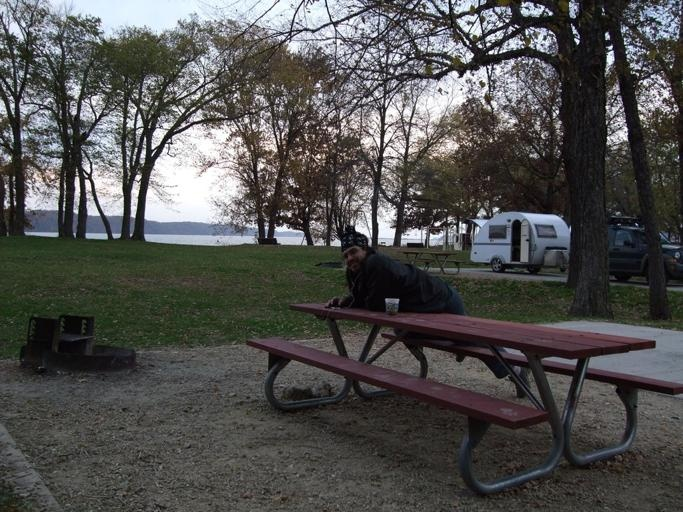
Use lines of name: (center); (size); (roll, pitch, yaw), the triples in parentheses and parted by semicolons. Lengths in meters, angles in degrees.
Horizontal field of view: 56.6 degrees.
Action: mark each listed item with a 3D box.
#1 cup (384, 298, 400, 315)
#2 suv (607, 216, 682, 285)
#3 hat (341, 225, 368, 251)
cup: (0.577, 0.589, 7.321); (0.165, 0.141, 0.172); (2, -1, 0)
suv: (9.947, -0.116, 21.518); (1.774, 2.269, 3.681); (1, 7, 10)
hat: (0.135, -0.207, 7.588); (0.296, 0.291, 0.165); (0, 7, 2)
